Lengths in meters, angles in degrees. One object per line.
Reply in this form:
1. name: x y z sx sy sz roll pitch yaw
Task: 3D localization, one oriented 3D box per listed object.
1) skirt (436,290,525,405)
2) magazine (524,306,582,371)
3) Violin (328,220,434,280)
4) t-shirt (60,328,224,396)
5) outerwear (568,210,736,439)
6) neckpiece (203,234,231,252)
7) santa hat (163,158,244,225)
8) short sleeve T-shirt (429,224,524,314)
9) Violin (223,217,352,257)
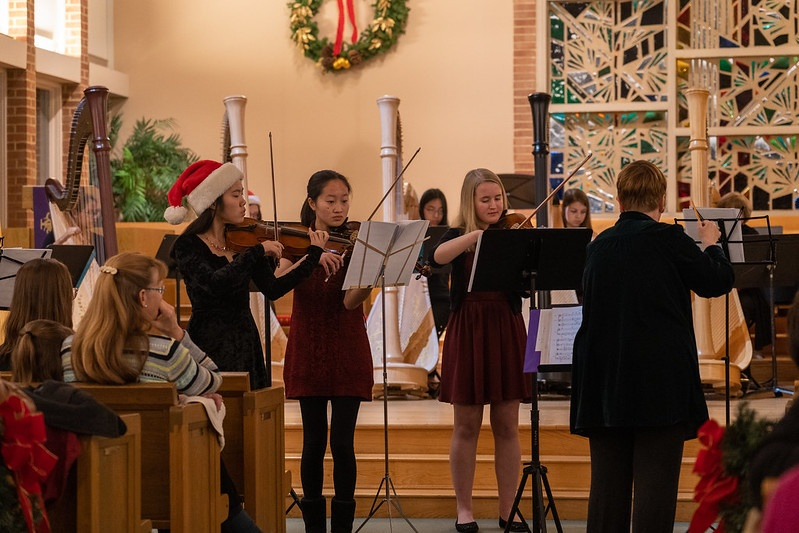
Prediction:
1. skirt: 0.588 0.514 5.690 0.519 0.687 0.381 -9 -18 29
2. magazine: 0.858 0.409 5.079 0.358 0.347 0.085 2 -6 -5
3. Violin: -0.074 -0.049 5.455 0.499 0.458 0.109 -2 27 -39
4. t-shirt: -1.140 0.500 4.489 0.445 0.203 0.452 2 -3 6
5. outerwear: 1.342 0.499 4.865 0.730 1.709 0.684 -3 -11 40
6. neckpiece: -1.039 -0.128 5.157 0.047 0.059 0.173 -20 -24 36
7. santa hat: -1.119 -0.446 5.197 0.417 0.284 0.302 -28 0 4
8. short sleeve T-shirt: 0.490 0.058 5.592 0.734 0.595 0.477 2 -7 -19
9. Violin: -0.643 -0.175 5.452 0.746 0.288 0.143 5 -27 -11
